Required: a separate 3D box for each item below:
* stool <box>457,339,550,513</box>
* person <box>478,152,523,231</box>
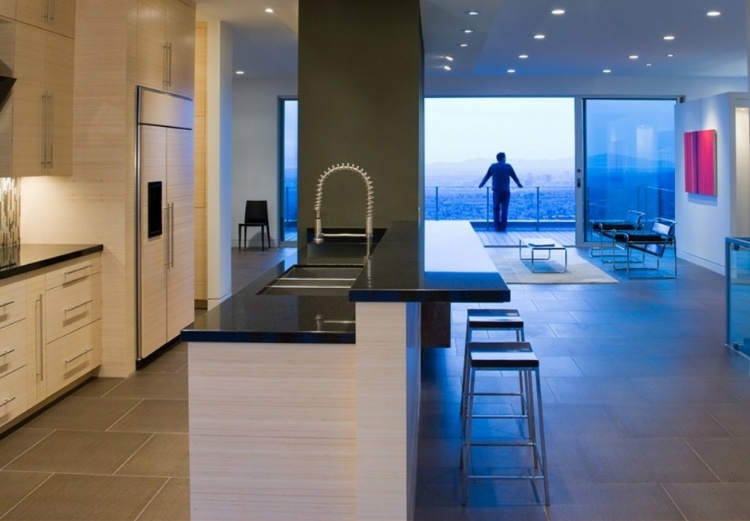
[{"bbox_3d":[0.852,1.129,3.746,0.722,1.200,0.920,0,13,9],"label":"stool"},{"bbox_3d":[2.947,-1.658,13.266,0.882,1.797,0.596,-1,9,-2],"label":"person"}]
